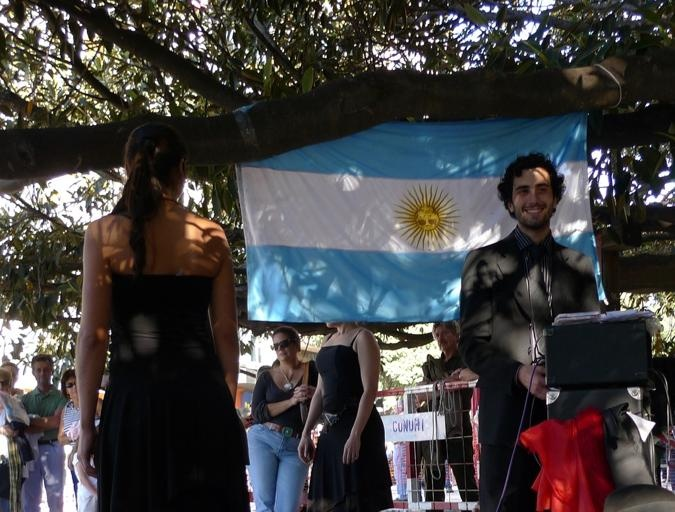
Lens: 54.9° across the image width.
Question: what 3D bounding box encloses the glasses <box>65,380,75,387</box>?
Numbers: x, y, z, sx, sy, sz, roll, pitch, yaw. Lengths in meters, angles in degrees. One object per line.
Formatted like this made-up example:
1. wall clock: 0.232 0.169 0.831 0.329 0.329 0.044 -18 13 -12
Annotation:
1. glasses: -3.191 1.534 7.769 0.084 0.076 0.128 -3 -34 -9

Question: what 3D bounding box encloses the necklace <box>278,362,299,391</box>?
1. necklace: -0.482 1.205 6.464 0.077 0.253 0.150 -16 5 0
